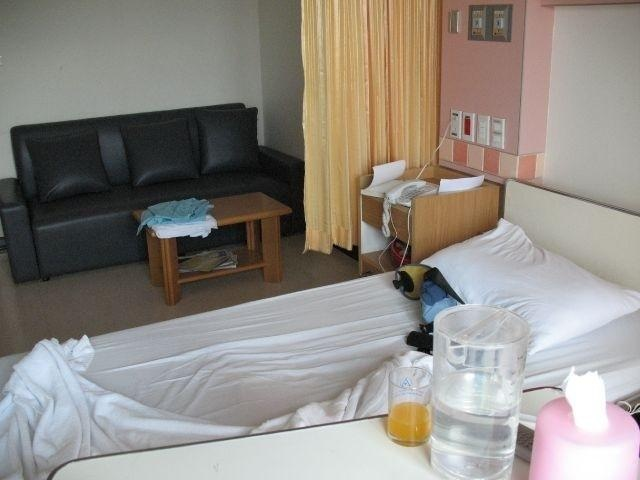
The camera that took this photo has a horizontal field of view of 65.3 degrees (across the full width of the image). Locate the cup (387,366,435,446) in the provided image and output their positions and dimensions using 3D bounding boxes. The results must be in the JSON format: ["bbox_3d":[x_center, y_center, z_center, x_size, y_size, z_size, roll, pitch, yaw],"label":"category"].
[{"bbox_3d":[0.179,0.354,1.078,0.095,0.130,0.127,1,12,7],"label":"cup"}]

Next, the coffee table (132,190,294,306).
[{"bbox_3d":[-0.744,0.265,3.793,1.187,0.709,0.710,-11,33,-19],"label":"coffee table"}]

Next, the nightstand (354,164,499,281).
[{"bbox_3d":[0.619,-0.198,3.113,0.605,0.886,0.847,-10,20,-22],"label":"nightstand"}]

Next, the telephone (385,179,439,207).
[{"bbox_3d":[0.546,-0.295,2.951,0.202,0.057,0.195,-19,27,-16],"label":"telephone"}]

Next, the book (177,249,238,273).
[{"bbox_3d":[-0.801,0.161,3.626,0.241,0.039,0.251,-9,23,-21],"label":"book"}]

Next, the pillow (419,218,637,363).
[{"bbox_3d":[0.899,0.167,2.079,0.431,0.170,0.609,-20,27,-20],"label":"pillow"}]

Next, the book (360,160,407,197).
[{"bbox_3d":[0.398,-0.401,3.105,0.297,0.172,0.209,-23,38,-29],"label":"book"}]
